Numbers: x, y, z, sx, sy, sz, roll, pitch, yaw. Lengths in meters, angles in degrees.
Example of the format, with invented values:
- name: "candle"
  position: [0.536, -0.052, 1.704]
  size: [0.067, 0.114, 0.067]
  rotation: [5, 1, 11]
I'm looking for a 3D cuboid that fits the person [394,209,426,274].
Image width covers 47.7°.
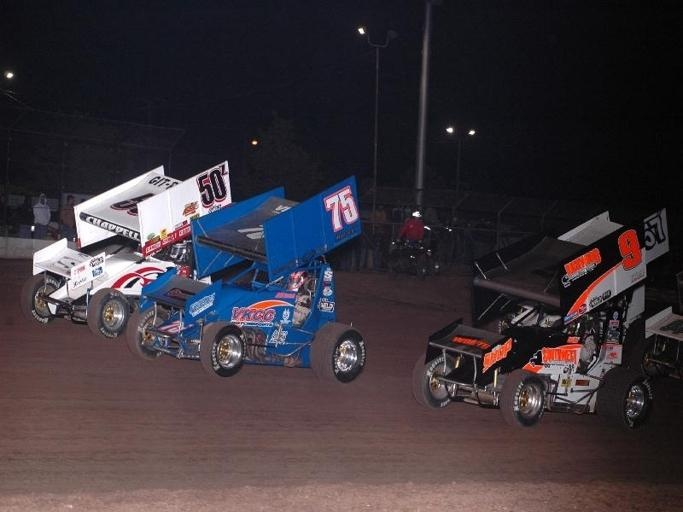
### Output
- name: "person"
  position: [1.900, -0.420, 20.908]
  size: [0.911, 1.642, 0.796]
  rotation: [6, 2, 32]

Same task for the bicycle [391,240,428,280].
- name: "bicycle"
  position: [1.897, 0.002, 20.626]
  size: [0.808, 0.958, 1.278]
  rotation: [-3, 8, -22]

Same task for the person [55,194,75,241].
- name: "person"
  position: [-7.143, -0.979, 20.180]
  size: [0.387, 1.234, 1.196]
  rotation: [0, 9, -19]
